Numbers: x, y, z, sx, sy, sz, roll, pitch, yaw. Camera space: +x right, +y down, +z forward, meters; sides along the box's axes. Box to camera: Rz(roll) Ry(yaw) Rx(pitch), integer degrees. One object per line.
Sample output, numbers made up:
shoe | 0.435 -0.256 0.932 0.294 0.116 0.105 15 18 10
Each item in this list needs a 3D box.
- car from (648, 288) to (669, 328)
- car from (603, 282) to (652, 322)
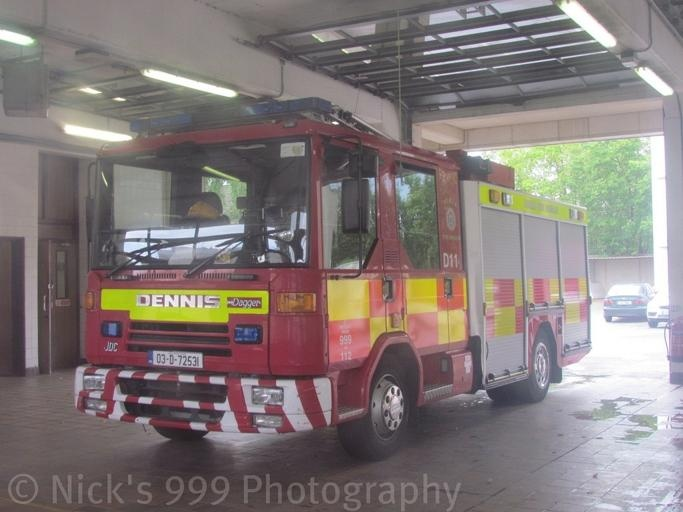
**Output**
car | 12.649 2.174 25.184 0.695 1.540 2.098 -1 -2 26
car | 13.978 2.217 30.569 2.062 2.210 2.218 -2 0 35
